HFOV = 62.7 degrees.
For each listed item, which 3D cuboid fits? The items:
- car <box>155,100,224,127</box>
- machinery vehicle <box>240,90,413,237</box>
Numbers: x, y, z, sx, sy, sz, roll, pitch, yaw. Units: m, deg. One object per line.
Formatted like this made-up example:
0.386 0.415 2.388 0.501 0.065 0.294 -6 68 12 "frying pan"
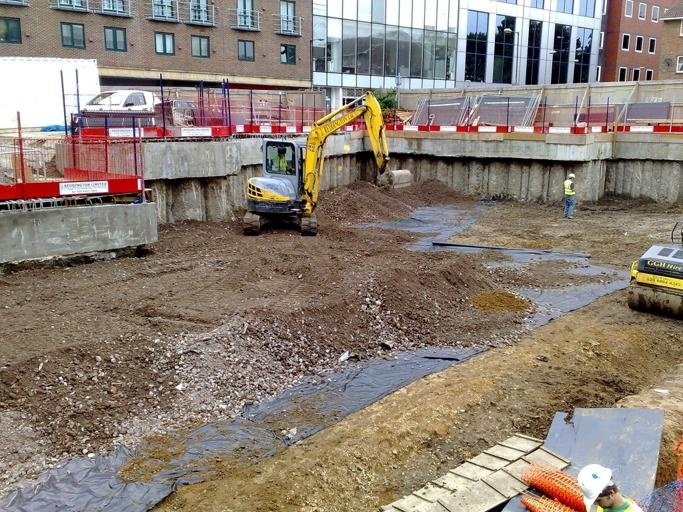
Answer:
-6.041 -5.469 21.550 2.640 0.829 2.247 -2 9 -21 "car"
-0.612 -2.926 17.391 5.744 3.410 2.916 -7 23 -8 "machinery vehicle"
